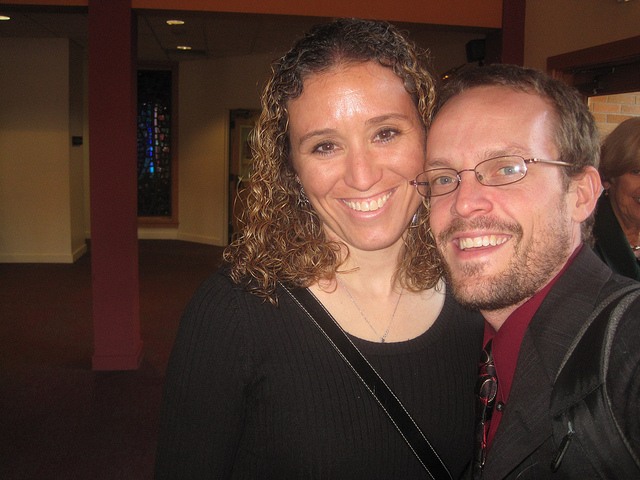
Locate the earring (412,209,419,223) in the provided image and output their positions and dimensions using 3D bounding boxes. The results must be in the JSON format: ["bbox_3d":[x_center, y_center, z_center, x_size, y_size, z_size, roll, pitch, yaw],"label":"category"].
[{"bbox_3d":[0.381,-0.090,2.225,0.021,0.054,0.059,2,9,17],"label":"earring"}]

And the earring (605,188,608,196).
[{"bbox_3d":[1.816,-0.303,3.546,0.018,0.048,0.022,0,8,2],"label":"earring"}]

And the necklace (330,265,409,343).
[{"bbox_3d":[0.168,0.247,2.024,0.085,0.285,0.020,-30,-17,-11],"label":"necklace"}]

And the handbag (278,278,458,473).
[{"bbox_3d":[0.149,0.498,1.905,0.041,0.776,0.103,-3,-32,-43],"label":"handbag"}]

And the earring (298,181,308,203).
[{"bbox_3d":[-0.068,-0.187,2.205,0.035,0.088,0.055,-1,8,-4],"label":"earring"}]
